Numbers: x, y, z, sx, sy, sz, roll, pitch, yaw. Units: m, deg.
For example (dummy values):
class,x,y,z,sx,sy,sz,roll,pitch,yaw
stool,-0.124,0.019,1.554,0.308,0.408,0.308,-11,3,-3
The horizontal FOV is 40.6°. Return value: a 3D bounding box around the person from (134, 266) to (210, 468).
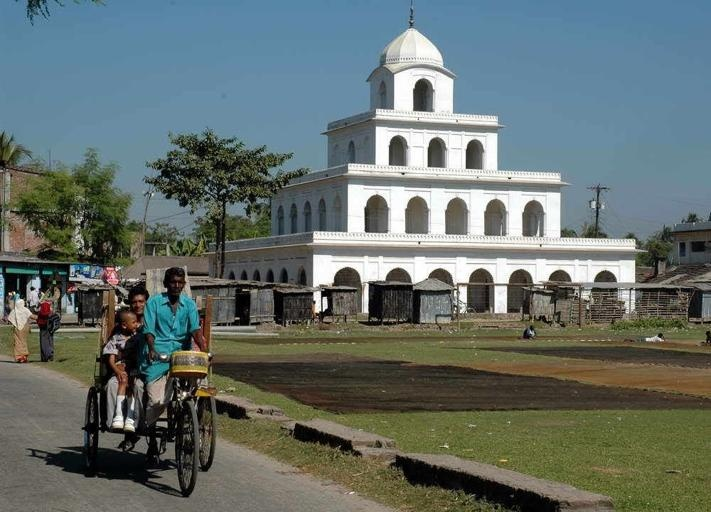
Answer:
class,x,y,z,sx,sy,sz,roll,pitch,yaw
person,-2.691,1.434,14.282,1.013,2.490,1.433,1,4,-8
